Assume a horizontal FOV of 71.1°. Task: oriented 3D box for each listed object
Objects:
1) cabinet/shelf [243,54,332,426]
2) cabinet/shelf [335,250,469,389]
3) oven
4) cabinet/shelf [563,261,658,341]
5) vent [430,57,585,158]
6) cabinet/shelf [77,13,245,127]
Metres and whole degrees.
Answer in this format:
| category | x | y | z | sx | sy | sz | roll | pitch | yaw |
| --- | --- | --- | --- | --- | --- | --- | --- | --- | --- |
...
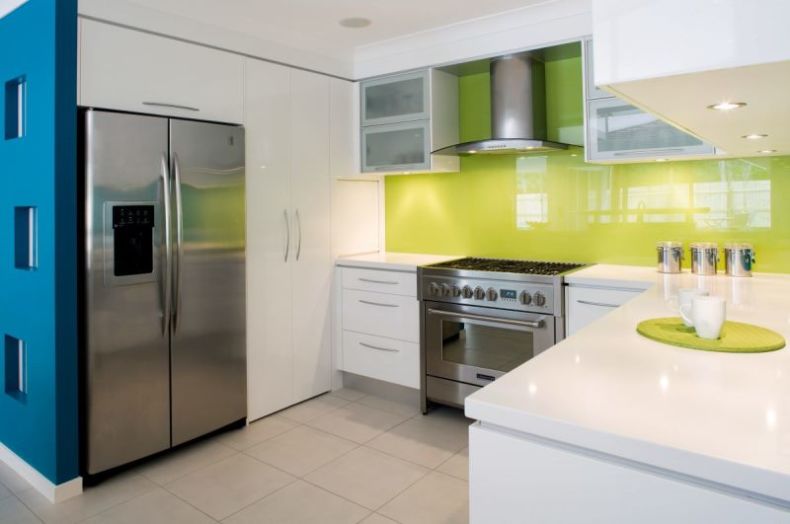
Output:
| category | x | y | z | sx | sy | sz | roll | pitch | yaw |
| --- | --- | --- | --- | --- | --- | --- | --- | --- | --- |
| cabinet/shelf | -0.830 | -0.186 | 4.225 | 0.376 | 2.567 | 1.075 | 9 | 16 | 33 |
| cabinet/shelf | 0.113 | 0.481 | 4.702 | 1.030 | 0.977 | 0.927 | 3 | 7 | 25 |
| oven | 0.732 | 0.432 | 4.069 | 0.897 | 0.574 | 0.576 | 0 | 0 | 39 |
| cabinet/shelf | 1.403 | 0.213 | 3.697 | 0.664 | 0.617 | 0.487 | 1 | 1 | 45 |
| vent | 0.788 | -1.173 | 4.172 | 0.525 | 0.698 | 1.087 | -8 | 11 | -41 |
| cabinet/shelf | -1.491 | -1.198 | 3.496 | 0.496 | 0.413 | 0.903 | 5 | 6 | 43 |
